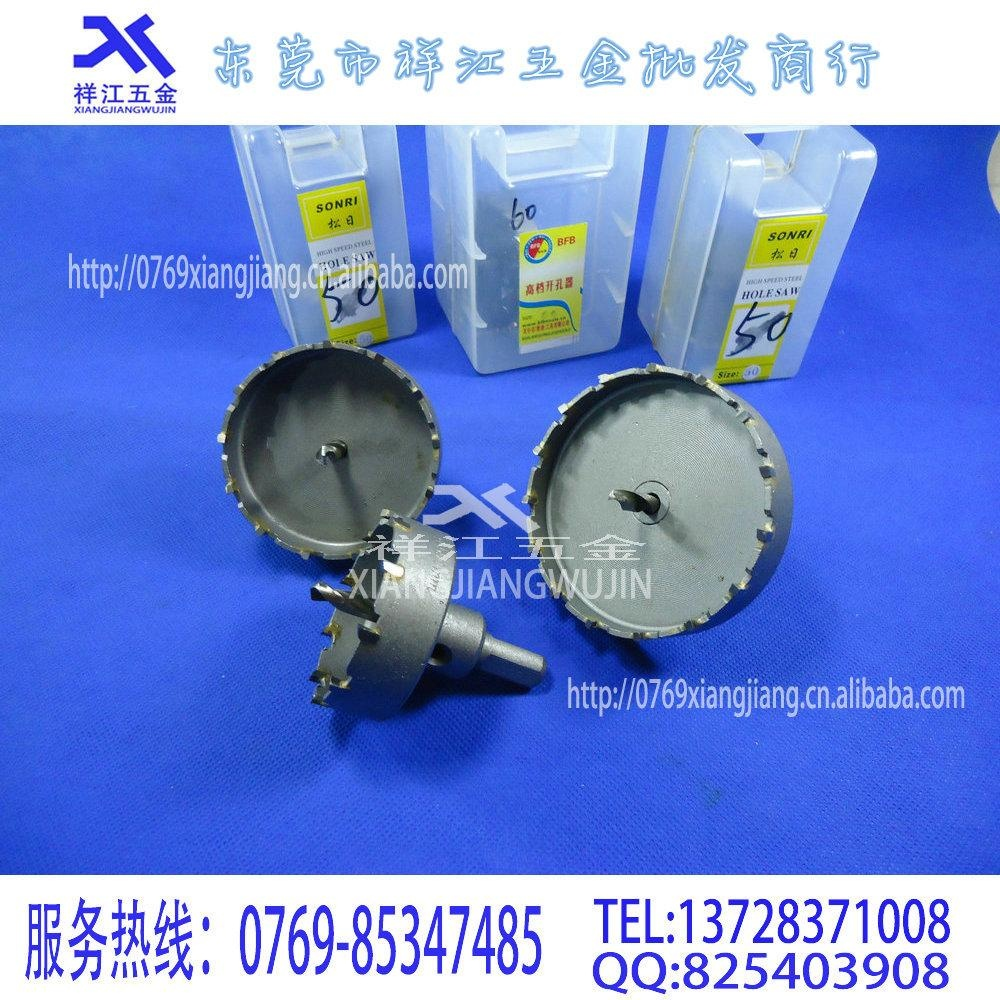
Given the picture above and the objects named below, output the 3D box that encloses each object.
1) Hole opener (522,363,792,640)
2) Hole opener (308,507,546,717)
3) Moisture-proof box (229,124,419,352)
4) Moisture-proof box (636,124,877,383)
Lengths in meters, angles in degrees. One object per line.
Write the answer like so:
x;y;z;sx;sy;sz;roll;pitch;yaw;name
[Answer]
0.366;0.037;2.324;0.674;0.564;0.526;27;62;18;Hole opener
-0.177;0.354;2.329;0.620;0.476;0.367;15;92;-12;Hole opener
-0.499;-0.958;2.913;0.439;0.837;0.463;-6;59;-3;Moisture-proof box
0.760;-0.793;2.865;0.481;0.769;0.384;-7;45;-12;Moisture-proof box
